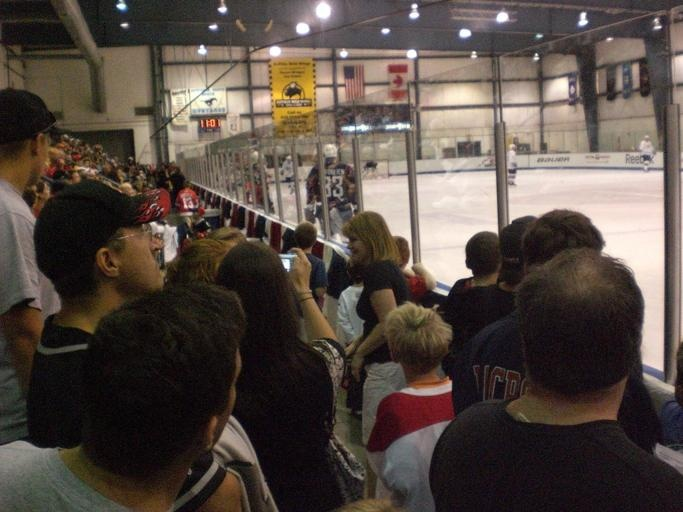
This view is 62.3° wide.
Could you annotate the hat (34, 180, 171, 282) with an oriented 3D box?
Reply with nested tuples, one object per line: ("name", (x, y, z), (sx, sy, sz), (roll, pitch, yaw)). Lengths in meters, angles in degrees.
("hat", (-0.750, -0.088, 1.803), (0.391, 0.312, 0.161), (-6, 8, -31))
